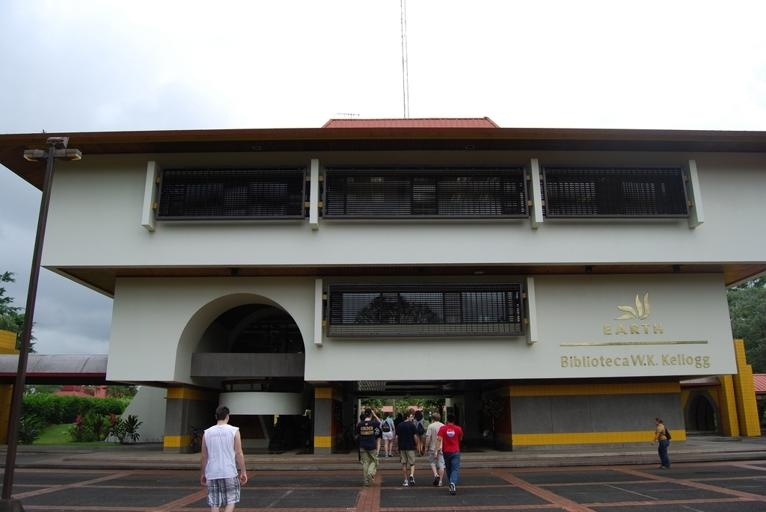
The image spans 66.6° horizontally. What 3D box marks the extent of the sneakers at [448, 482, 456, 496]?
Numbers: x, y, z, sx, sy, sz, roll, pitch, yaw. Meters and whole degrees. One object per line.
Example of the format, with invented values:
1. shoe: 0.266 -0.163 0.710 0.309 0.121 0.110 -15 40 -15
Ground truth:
1. sneakers: 2.212 7.540 18.834 0.204 0.214 0.468 -2 -56 7

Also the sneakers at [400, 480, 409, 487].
1. sneakers: 0.752 7.941 20.417 0.326 0.252 0.151 -1 -10 5

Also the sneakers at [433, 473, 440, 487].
1. sneakers: 1.849 7.879 20.385 0.217 0.189 0.434 4 -35 2
